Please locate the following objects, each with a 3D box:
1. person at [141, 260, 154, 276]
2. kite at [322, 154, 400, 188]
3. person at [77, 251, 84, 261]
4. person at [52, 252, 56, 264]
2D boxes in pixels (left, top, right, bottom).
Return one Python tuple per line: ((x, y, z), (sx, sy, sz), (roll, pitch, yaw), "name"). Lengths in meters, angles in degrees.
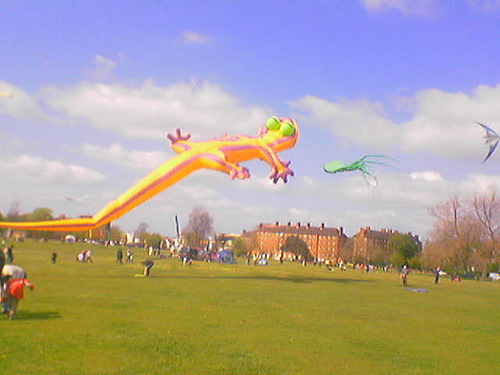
((-7.281, 5.937, 39.792), (0.468, 1.236, 0.868), (10, -6, -37), "person")
((3.458, -0.706, 19.134), (2.429, 1.586, 0.599), (3, 30, -3), "kite")
((-15.986, 6.622, 51.964), (0.397, 0.557, 1.374), (2, 9, -9), "person")
((-17.228, 6.268, 48.152), (0.317, 0.878, 1.694), (8, -10, -17), "person")
